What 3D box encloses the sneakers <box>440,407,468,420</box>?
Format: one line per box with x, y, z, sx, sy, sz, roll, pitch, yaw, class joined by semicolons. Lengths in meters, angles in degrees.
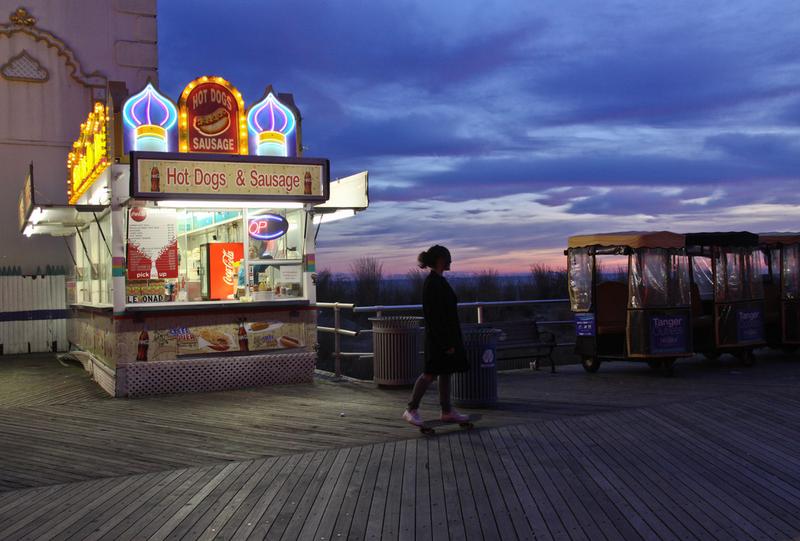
0.731;1.979;9.288;0.345;0.158;0.149;1;-4;-2;sneakers

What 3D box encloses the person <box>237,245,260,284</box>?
-2.978;-0.094;13.148;0.472;0.771;0.315;-1;4;1;person

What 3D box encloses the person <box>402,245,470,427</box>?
0.488;0.917;9.173;0.833;2.512;1.022;-1;4;5;person

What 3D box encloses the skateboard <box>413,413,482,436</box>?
0.683;2.099;9.214;1.012;0.174;0.256;0;7;-17;skateboard

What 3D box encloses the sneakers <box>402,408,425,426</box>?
0.168;2.015;9.222;0.360;0.165;0.137;18;0;43;sneakers

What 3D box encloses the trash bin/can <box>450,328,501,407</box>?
1.159;1.569;10.726;0.992;1.159;0.914;0;-8;-1;trash bin/can
